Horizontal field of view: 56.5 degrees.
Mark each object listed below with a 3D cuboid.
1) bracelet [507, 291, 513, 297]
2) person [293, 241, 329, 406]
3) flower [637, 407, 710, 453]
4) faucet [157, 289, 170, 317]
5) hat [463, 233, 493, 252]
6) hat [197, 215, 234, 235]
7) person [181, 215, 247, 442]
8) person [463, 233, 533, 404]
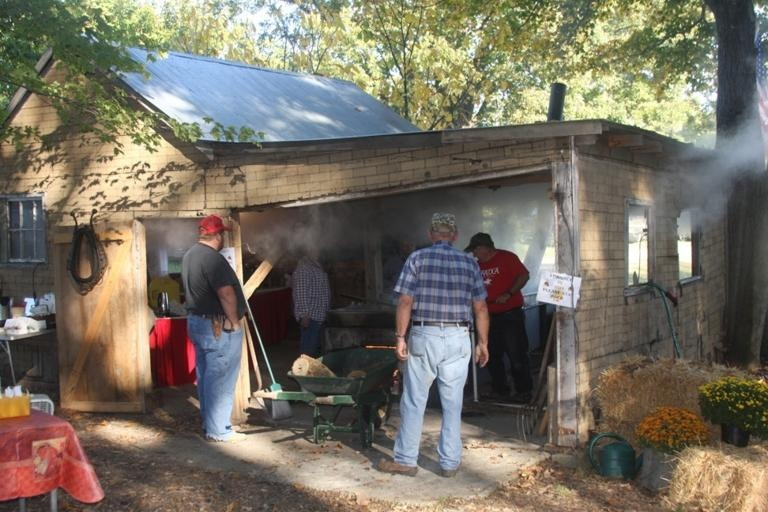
[{"bbox_3d":[2.004,0.594,11.344,0.059,0.067,0.068,39,13,-4],"label":"bracelet"},{"bbox_3d":[-1.269,0.794,12.306,0.596,1.993,0.577,2,-3,-13],"label":"person"},{"bbox_3d":[3.724,2.131,9.270,0.616,0.645,0.771,-3,-3,-9],"label":"flower"},{"bbox_3d":[-3.852,0.837,12.468,0.193,0.420,0.273,6,-6,-17],"label":"faucet"},{"bbox_3d":[1.530,-0.216,11.640,0.401,0.255,0.304,1,7,19],"label":"hat"},{"bbox_3d":[-2.409,-0.460,10.135,0.252,0.229,0.407,7,15,25],"label":"hat"},{"bbox_3d":[-2.412,1.006,10.010,0.950,3.135,0.640,5,-6,-13],"label":"person"},{"bbox_3d":[1.843,0.949,11.496,1.071,2.529,0.890,-1,0,-1],"label":"person"}]
